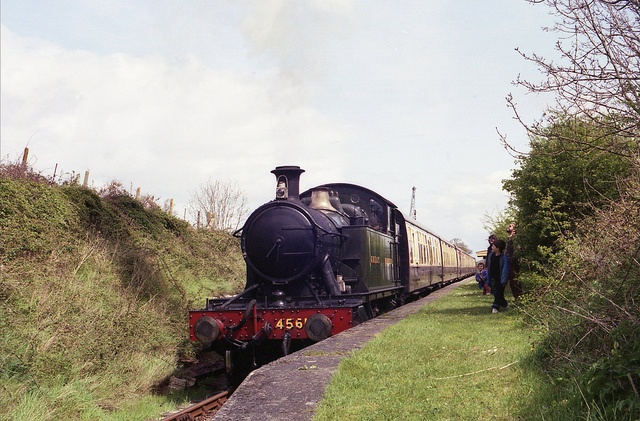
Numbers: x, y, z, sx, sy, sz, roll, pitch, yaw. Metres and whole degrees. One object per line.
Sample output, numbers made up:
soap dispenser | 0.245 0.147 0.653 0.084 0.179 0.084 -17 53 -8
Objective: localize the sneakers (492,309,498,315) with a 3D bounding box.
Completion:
sneakers | 4.886 2.791 11.943 0.133 0.135 0.312 -3 -1 22

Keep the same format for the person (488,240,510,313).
person | 5.144 1.846 12.296 0.534 2.169 0.860 -2 0 22

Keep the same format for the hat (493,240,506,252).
hat | 5.218 0.989 12.452 0.286 0.316 0.335 -7 21 -37

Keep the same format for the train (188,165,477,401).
train | 0.615 1.384 12.935 2.984 4.954 9.545 -2 -1 25
